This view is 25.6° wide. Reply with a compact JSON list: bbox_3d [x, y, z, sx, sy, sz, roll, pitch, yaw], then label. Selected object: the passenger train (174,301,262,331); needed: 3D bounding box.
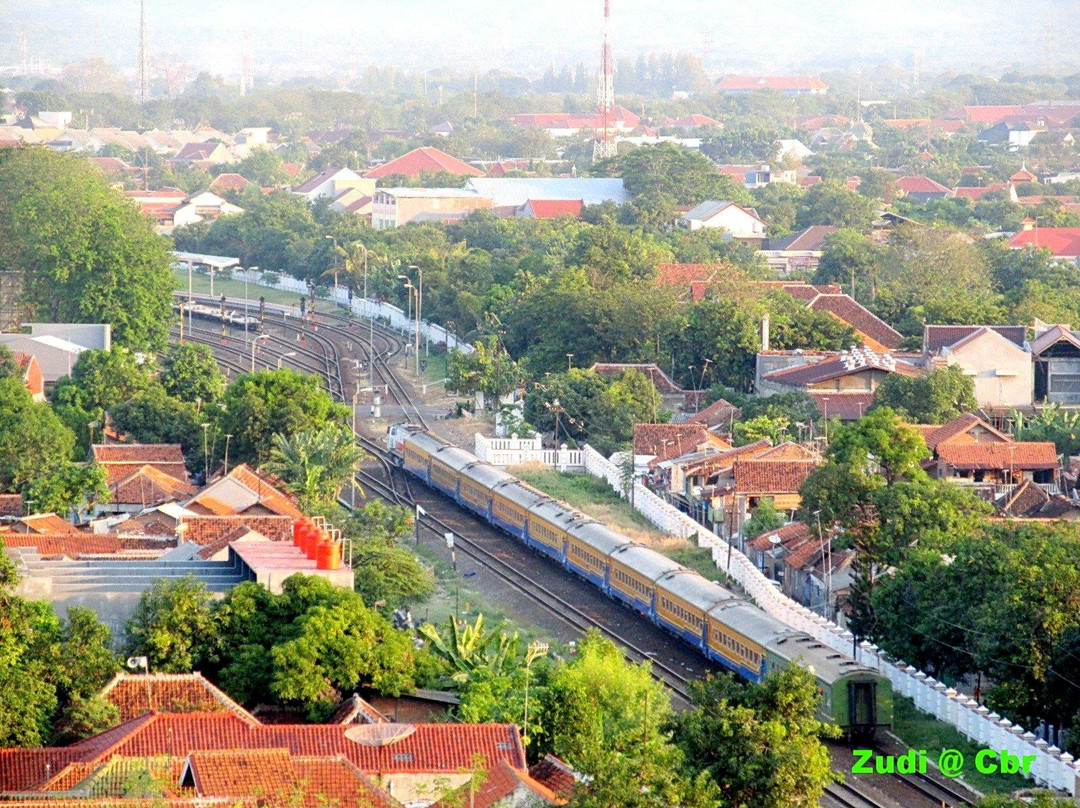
[{"bbox_3d":[-18.231,-5.035,134.466,0.980,1.200,6.698,-16,15,-27],"label":"passenger train"}]
